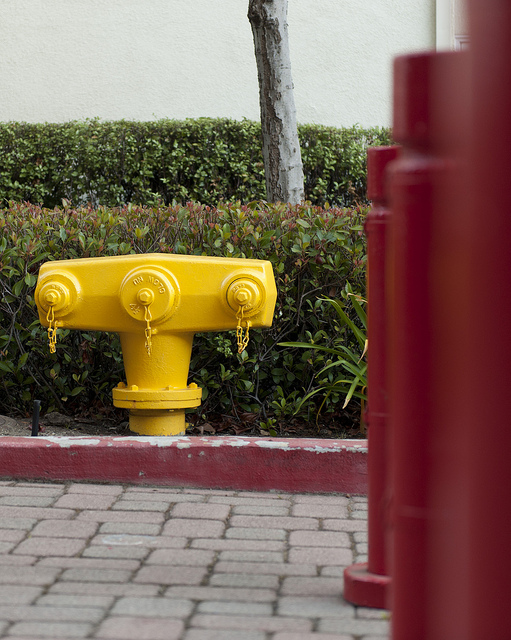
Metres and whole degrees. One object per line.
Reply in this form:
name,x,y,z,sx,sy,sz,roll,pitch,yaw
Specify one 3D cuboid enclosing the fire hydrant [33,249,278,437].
fire hydrant,-0.362,0.095,3.883,1.109,0.708,0.484,0,-1,29
